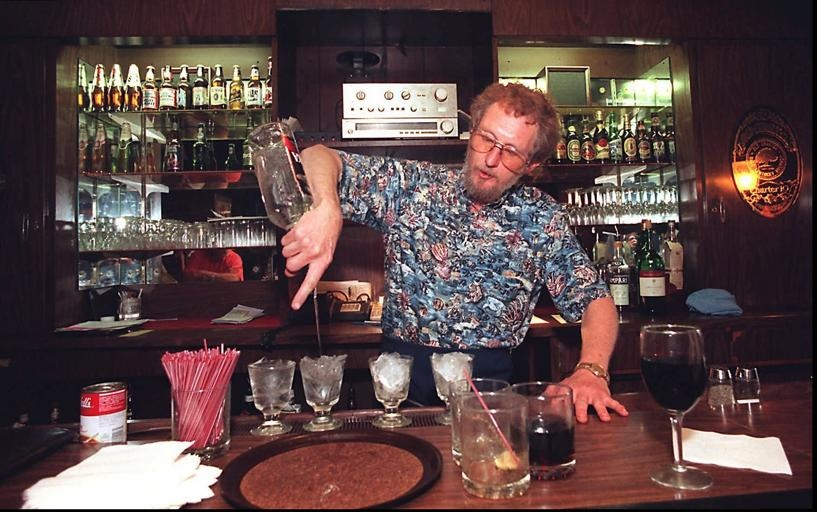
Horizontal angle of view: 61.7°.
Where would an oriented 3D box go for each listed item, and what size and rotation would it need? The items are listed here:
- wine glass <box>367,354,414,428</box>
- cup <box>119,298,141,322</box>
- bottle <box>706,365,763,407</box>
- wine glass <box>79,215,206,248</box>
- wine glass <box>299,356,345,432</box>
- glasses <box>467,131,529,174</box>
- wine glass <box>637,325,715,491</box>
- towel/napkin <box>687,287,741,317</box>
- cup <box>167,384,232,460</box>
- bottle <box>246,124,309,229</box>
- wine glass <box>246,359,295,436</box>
[{"bbox_3d":[-0.075,0.611,3.147,0.197,0.321,0.208,-4,5,-19],"label":"wine glass"},{"bbox_3d":[-1.968,0.386,4.847,0.171,0.161,0.155,-1,-1,-1],"label":"cup"},{"bbox_3d":[1.526,0.613,3.205,0.277,0.184,0.141,-2,0,3],"label":"bottle"},{"bbox_3d":[-1.904,-0.166,4.928,0.867,0.242,0.258,-4,5,-19],"label":"wine glass"},{"bbox_3d":[-0.391,0.612,3.119,0.202,0.332,0.265,-2,4,4],"label":"wine glass"},{"bbox_3d":[0.468,-0.544,3.482,0.246,0.073,0.242,25,-2,0],"label":"glasses"},{"bbox_3d":[1.131,0.617,2.901,0.264,0.652,0.312,-2,5,12],"label":"wine glass"},{"bbox_3d":[2.041,0.310,4.530,0.232,0.064,0.221,-1,9,4],"label":"towel/napkin"},{"bbox_3d":[-0.912,0.705,3.056,0.312,0.317,0.297,-3,5,0],"label":"cup"},{"bbox_3d":[-0.605,-0.383,3.243,0.343,0.510,0.152,0,5,31],"label":"bottle"},{"bbox_3d":[-0.621,0.632,3.127,0.205,0.330,0.209,-4,5,-13],"label":"wine glass"}]
